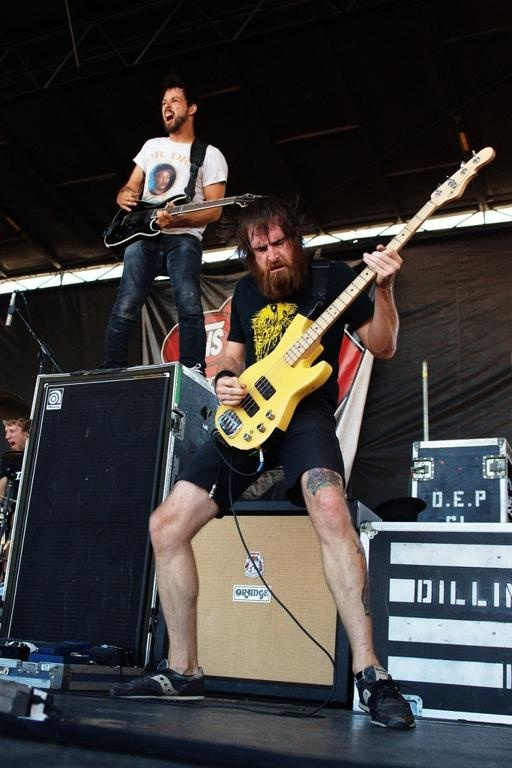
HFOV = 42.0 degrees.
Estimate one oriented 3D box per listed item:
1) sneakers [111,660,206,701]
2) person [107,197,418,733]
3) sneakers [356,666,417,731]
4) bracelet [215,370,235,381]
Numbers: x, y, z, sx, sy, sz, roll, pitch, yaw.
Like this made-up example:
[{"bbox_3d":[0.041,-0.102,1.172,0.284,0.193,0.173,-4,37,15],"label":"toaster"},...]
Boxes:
[{"bbox_3d":[-0.222,0.737,1.646,0.235,0.095,0.075,11,-44,-13],"label":"sneakers"},{"bbox_3d":[0.056,0.106,1.838,0.763,1.460,0.572,-2,-17,17],"label":"person"},{"bbox_3d":[0.268,0.638,1.360,0.084,0.104,0.152,5,-15,-10],"label":"sneakers"},{"bbox_3d":[-0.093,-0.026,2.038,0.043,0.038,0.030,-7,17,8],"label":"bracelet"}]
